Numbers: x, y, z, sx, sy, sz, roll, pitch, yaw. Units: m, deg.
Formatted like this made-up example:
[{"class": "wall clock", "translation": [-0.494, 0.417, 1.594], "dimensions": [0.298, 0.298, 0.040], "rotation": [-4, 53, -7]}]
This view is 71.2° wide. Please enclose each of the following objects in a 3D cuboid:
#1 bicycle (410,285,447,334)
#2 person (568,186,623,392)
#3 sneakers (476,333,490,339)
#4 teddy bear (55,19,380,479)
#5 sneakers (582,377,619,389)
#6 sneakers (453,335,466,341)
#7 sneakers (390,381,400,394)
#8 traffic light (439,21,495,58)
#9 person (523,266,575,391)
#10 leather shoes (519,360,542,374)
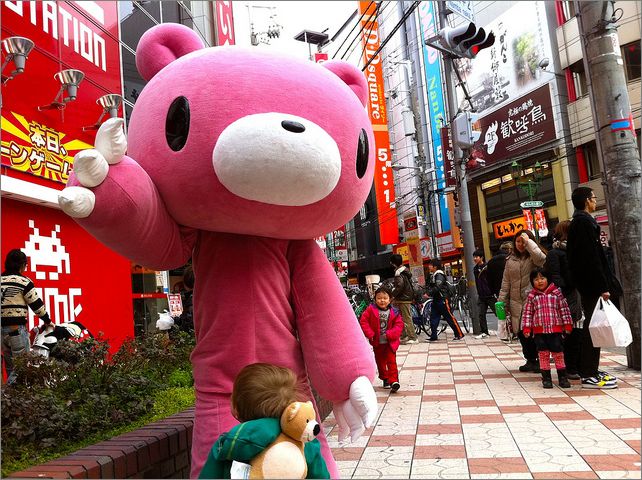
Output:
[{"class": "bicycle", "translation": [2.938, 2.164, 13.571], "dimensions": [0.840, 1.167, 1.874], "rotation": [-10, -15, 33]}, {"class": "person", "translation": [3.540, 0.578, 5.790], "dimensions": [0.592, 2.599, 0.481], "rotation": [-8, -7, 28]}, {"class": "sneakers", "translation": [4.170, 2.510, 11.553], "dimensions": [0.370, 0.152, 0.133], "rotation": [4, -10, -10]}, {"class": "teddy bear", "translation": [-0.408, 0.074, 2.379], "dimensions": [1.449, 2.351, 0.775], "rotation": [-5, -7, 6]}, {"class": "sneakers", "translation": [3.510, 1.819, 5.669], "dimensions": [0.409, 0.182, 0.142], "rotation": [-4, -5, 23]}, {"class": "sneakers", "translation": [3.589, 2.586, 11.667], "dimensions": [0.352, 0.150, 0.119], "rotation": [9, -7, -14]}, {"class": "sneakers", "translation": [1.062, 2.110, 6.426], "dimensions": [0.140, 0.147, 0.339], "rotation": [-5, -6, 7]}, {"class": "traffic light", "translation": [3.466, -4.984, 10.636], "dimensions": [0.671, 0.479, 1.031], "rotation": [6, 5, 41]}, {"class": "person", "translation": [2.993, 1.160, 5.909], "dimensions": [0.612, 1.584, 0.415], "rotation": [-8, -7, 26]}, {"class": "leather shoes", "translation": [3.276, 1.993, 6.966], "dimensions": [0.423, 0.183, 0.145], "rotation": [3, -3, -5]}]
